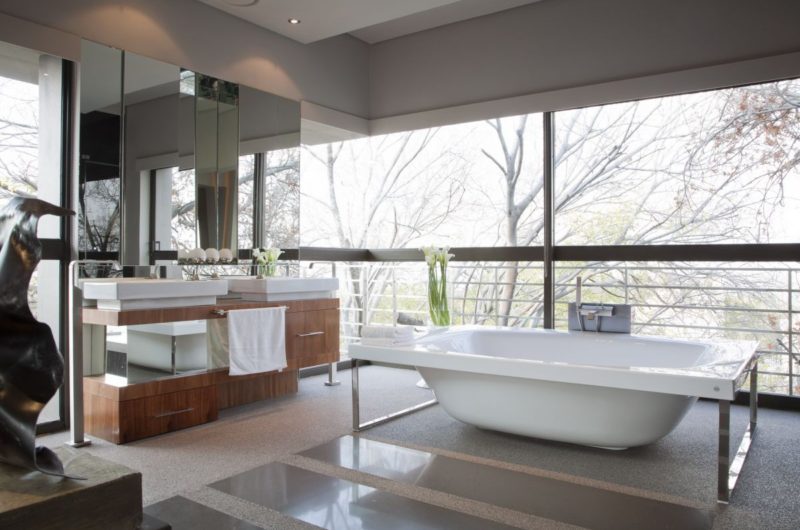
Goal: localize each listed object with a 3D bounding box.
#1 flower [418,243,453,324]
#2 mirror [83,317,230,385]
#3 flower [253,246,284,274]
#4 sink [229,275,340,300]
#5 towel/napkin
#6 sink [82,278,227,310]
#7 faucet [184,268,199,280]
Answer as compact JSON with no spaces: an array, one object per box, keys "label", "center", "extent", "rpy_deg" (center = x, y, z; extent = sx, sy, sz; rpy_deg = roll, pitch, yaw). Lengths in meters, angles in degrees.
[{"label":"flower","center":[0.357,0.196,5.126],"extent":[0.268,0.763,0.626],"rpy_deg":[0,8,2]},{"label":"mirror","center":[-1.750,0.620,3.993],"extent":[0.835,0.446,0.213],"rpy_deg":[-5,10,-37]},{"label":"flower","center":[-1.284,-0.043,4.999],"extent":[0.234,0.270,0.063],"rpy_deg":[-7,11,-41]},{"label":"sink","center":[-1.022,0.202,4.704],"extent":[0.952,0.225,0.365],"rpy_deg":[-2,7,-14]},{"label":"towel/napkin","center":[-1.190,0.612,4.306],"extent":[0.662,0.614,0.091],"rpy_deg":[-1,1,-44]},{"label":"sink","center":[-1.811,0.201,3.972],"extent":[0.981,0.241,0.370],"rpy_deg":[-5,8,-35]},{"label":"faucet","center":[-1.792,0.069,4.490],"extent":[0.053,0.093,0.098],"rpy_deg":[6,3,33]}]
